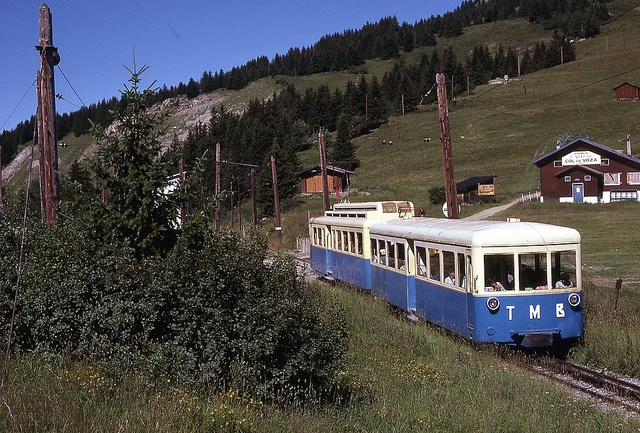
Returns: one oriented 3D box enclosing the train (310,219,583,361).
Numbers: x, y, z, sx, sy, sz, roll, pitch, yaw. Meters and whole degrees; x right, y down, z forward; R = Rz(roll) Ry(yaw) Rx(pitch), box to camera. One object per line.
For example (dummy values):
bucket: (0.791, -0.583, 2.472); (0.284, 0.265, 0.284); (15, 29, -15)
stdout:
train: (4.457, 1.814, 22.911); (2.451, 2.956, 10.916); (0, -1, -17)
